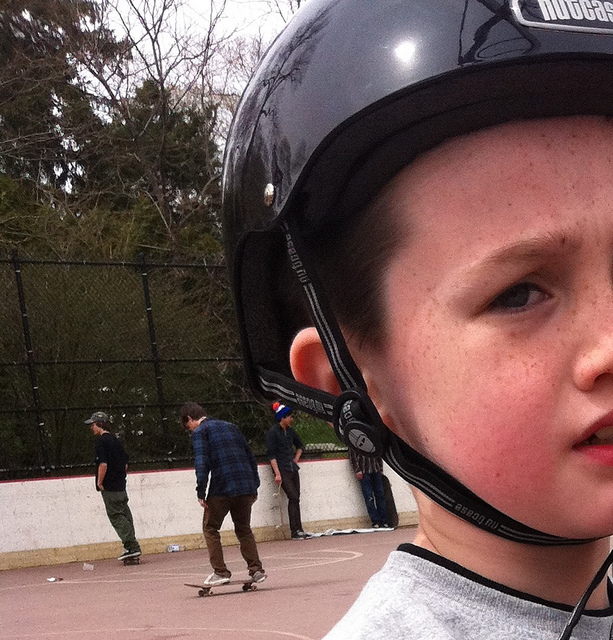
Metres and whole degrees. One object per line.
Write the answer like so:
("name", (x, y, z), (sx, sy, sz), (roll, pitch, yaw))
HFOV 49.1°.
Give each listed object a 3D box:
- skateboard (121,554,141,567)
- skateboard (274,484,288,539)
("skateboard", (-2.433, 3.262, 9.183), (0.243, 0.113, 0.330), (0, -13, -17))
("skateboard", (-0.449, 3.127, 11.013), (0.126, 0.874, 0.122), (0, 5, 26))
